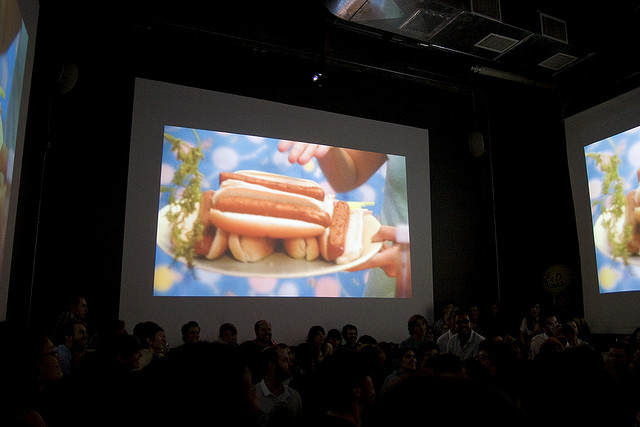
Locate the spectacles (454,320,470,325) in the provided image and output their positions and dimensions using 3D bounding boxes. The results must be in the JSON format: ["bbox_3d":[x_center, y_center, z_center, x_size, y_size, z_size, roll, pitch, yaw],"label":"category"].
[{"bbox_3d":[1.475,1.130,4.843,0.088,0.038,0.093,1,-30,3],"label":"spectacles"}]

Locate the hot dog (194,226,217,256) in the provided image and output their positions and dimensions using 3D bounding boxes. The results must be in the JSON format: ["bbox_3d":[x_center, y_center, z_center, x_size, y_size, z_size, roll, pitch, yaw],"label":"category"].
[{"bbox_3d":[-1.397,0.328,5.645,0.111,0.269,0.291,-4,-16,34],"label":"hot dog"}]
